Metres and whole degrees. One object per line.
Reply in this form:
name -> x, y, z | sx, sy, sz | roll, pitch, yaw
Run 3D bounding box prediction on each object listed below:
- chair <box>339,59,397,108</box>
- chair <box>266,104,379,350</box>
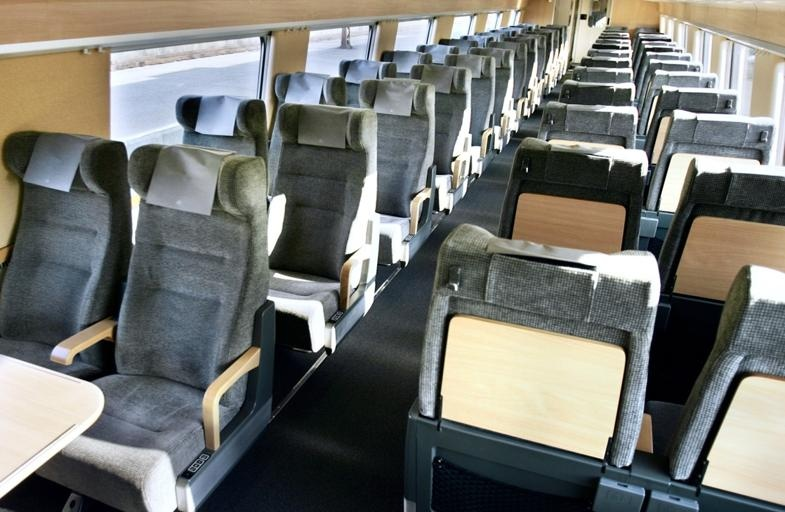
chair -> -0.327, -1.936, 6.925 | 0.674, 0.769, 0.707 | 4, 10, 10
chair -> -0.456, -0.207, 4.174 | 0.837, 1.696, 0.917 | 4, 12, -11
